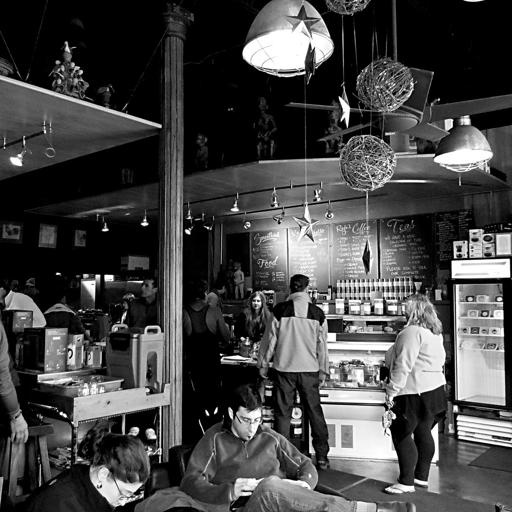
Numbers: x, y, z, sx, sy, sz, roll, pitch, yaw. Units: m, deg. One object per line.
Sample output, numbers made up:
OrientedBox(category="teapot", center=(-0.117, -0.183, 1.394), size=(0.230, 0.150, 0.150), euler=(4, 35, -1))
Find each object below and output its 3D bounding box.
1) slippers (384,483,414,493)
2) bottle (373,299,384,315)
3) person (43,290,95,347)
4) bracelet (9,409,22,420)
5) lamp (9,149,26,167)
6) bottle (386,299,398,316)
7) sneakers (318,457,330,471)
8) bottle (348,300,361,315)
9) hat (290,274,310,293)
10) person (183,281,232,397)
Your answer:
OrientedBox(category="slippers", center=(1.104, 1.809, 4.048), size=(0.184, 0.093, 0.099), euler=(6, -16, -7))
OrientedBox(category="bottle", center=(1.597, 0.659, 6.757), size=(0.147, 0.291, 0.169), euler=(-3, -7, 24))
OrientedBox(category="person", center=(-2.294, 0.751, 6.482), size=(0.389, 0.996, 0.285), euler=(2, 16, 25))
OrientedBox(category="bracelet", center=(-1.486, 0.991, 3.271), size=(0.035, 0.061, 0.084), euler=(-2, -3, 33))
OrientedBox(category="lamp", center=(-2.068, -0.872, 4.576), size=(0.095, 0.171, 0.084), euler=(27, -15, -19))
OrientedBox(category="bottle", center=(1.718, 0.654, 6.687), size=(0.140, 0.195, 0.160), euler=(0, -11, 4))
OrientedBox(category="sneakers", center=(0.613, 1.887, 4.714), size=(0.058, 0.089, 0.123), euler=(1, -30, 0))
OrientedBox(category="bottle", center=(1.287, 0.670, 6.862), size=(0.163, 0.210, 0.148), euler=(9, 4, -1))
OrientedBox(category="hat", center=(0.431, 0.299, 5.148), size=(0.123, 0.197, 0.191), euler=(4, 38, -1))
OrientedBox(category="person", center=(-0.501, 0.838, 5.426), size=(0.469, 1.157, 0.429), euler=(0, -2, -5))
